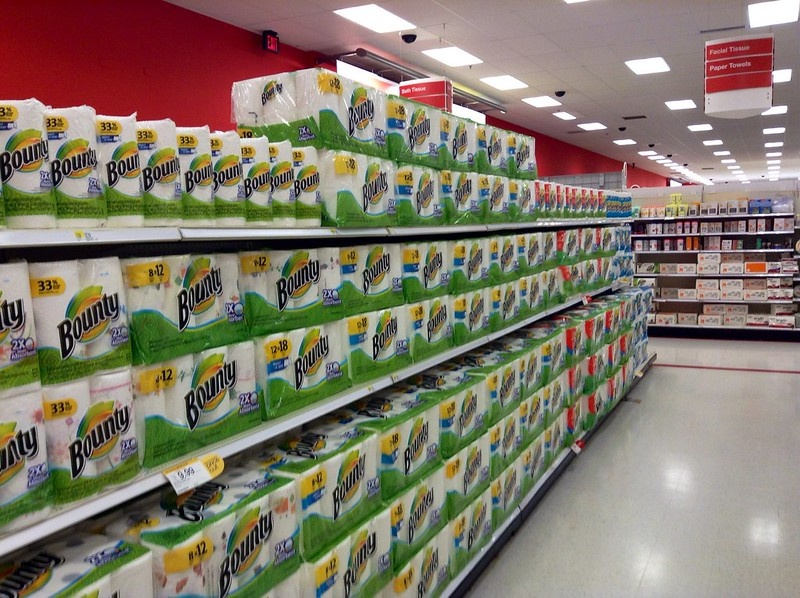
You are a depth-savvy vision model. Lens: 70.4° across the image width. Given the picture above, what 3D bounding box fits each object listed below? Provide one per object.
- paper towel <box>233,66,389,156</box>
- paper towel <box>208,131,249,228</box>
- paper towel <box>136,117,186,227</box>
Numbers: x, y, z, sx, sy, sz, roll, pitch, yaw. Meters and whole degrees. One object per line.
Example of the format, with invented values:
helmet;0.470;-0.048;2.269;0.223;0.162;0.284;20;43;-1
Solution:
paper towel;-0.416;-0.695;2.470;0.437;0.265;0.458;6;9;33
paper towel;-0.576;-0.419;2.054;0.205;0.331;0.204;-2;-1;-19
paper towel;-0.765;-0.392;1.840;0.124;0.329;0.116;-4;3;-21
